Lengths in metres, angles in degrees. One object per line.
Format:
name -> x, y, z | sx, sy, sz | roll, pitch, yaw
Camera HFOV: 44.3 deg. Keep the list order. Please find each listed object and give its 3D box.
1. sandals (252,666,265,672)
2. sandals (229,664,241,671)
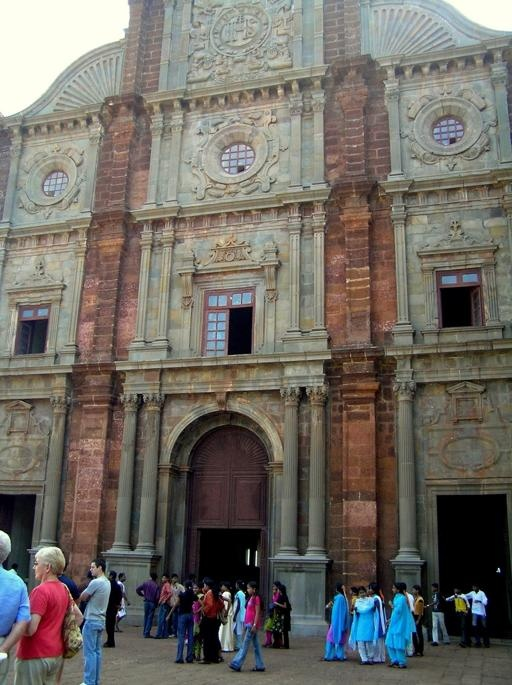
sandals -> 0.029, 5.361, 10.326 | 0.197, 0.074, 0.372 | 1, -18, 0
sandals -> -0.349, 5.352, 10.347 | 0.190, 0.116, 0.321 | 1, -18, -2
